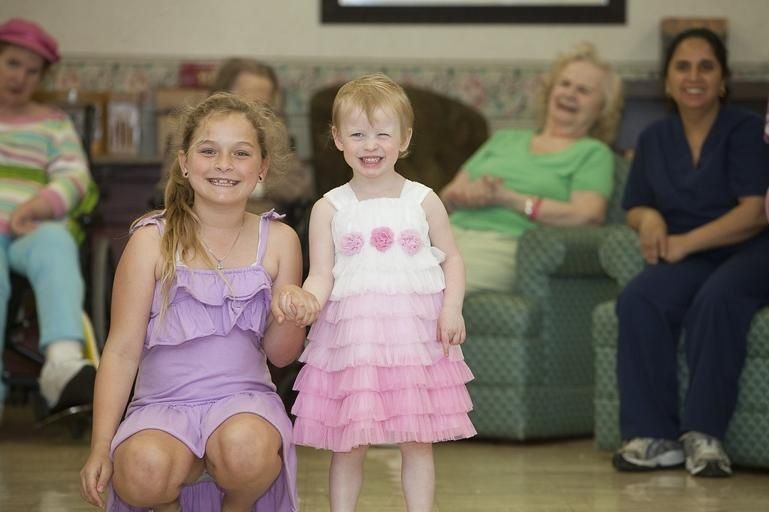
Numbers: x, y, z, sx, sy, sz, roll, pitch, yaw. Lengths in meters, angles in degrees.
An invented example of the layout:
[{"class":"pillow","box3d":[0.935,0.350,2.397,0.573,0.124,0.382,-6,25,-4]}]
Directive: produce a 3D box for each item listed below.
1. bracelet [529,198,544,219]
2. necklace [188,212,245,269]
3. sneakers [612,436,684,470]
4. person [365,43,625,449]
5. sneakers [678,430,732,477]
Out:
[{"class":"bracelet","box3d":[0.461,-0.145,3.196,0.014,0.054,0.055,12,-31,4]},{"class":"necklace","box3d":[-0.463,-0.037,2.806,0.138,0.148,0.044,2,-3,-12]},{"class":"sneakers","box3d":[0.798,0.600,3.144,0.177,0.086,0.101,2,-10,-8]},{"class":"person","box3d":[0.470,-0.049,3.328,0.502,1.188,0.614,-6,12,-40]},{"class":"sneakers","box3d":[0.976,0.585,3.186,0.120,0.104,0.248,-4,10,5]}]
